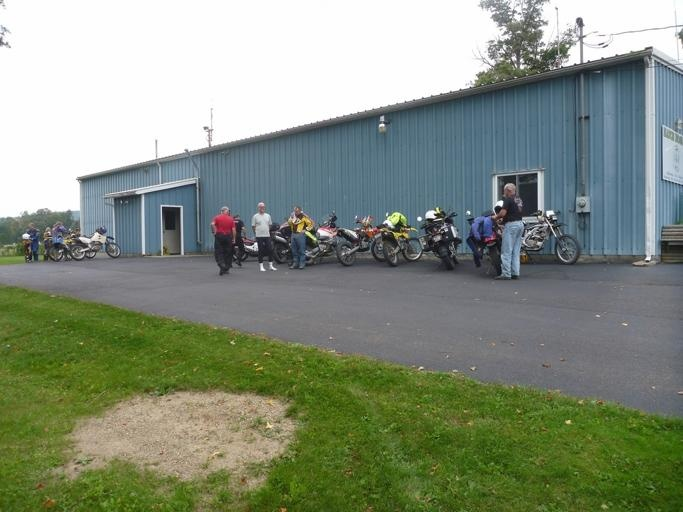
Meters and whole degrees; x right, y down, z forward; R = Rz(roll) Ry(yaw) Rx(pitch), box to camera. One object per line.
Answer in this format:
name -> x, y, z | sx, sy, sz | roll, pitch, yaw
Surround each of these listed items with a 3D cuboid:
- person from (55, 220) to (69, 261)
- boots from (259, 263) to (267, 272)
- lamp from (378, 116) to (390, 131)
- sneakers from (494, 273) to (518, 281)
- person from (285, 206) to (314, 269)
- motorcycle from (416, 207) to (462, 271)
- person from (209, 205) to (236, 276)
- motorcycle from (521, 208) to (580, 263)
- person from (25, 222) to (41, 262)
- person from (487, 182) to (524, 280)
person -> -10.211, -0.553, 21.230 | 0.453, 1.003, 1.293 | -3, 2, -27
boots -> -1.991, 0.286, 14.801 | 0.120, 0.204, 0.281 | -3, -1, -25
lamp -> 1.309, -4.166, 18.478 | 0.322, 0.545, 0.377 | -3, 2, -20
sneakers -> 3.252, 0.434, 11.605 | 0.436, 0.222, 0.161 | -2, 11, 6
person -> -1.076, -0.488, 15.326 | 0.555, 1.573, 0.709 | -3, 2, -6
motorcycle -> 2.324, -0.433, 14.166 | 0.727, 1.153, 1.923 | -29, 2, 17
person -> -2.862, -0.381, 14.143 | 0.526, 1.607, 1.307 | -3, 2, -11
motorcycle -> 5.084, -0.486, 14.544 | 0.787, 1.362, 2.129 | -7, 11, -43
person -> -11.132, -0.460, 21.075 | 0.376, 1.023, 1.459 | -3, 2, -28
person -> 3.365, -0.505, 11.790 | 0.515, 1.907, 0.659 | -2, 2, 15
